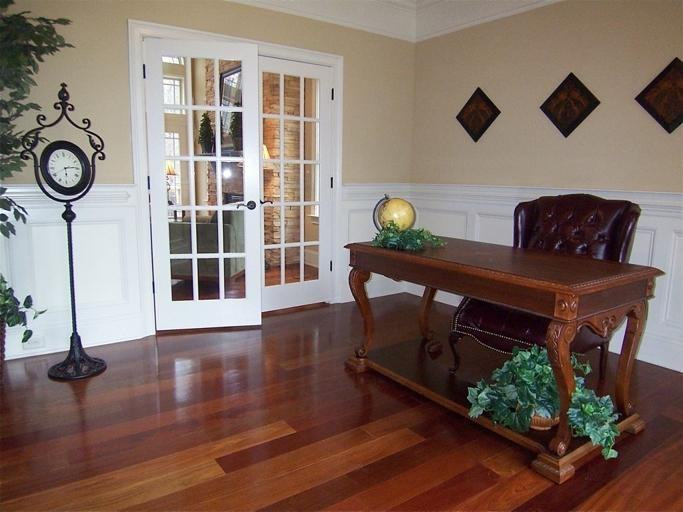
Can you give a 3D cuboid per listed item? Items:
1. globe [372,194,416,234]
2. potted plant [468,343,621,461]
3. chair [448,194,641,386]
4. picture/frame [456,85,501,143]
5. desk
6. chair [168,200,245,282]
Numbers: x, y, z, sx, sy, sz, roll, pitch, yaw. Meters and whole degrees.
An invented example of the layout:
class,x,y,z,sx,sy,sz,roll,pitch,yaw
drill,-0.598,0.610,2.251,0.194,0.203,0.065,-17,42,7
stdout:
class,x,y,z,sx,sy,sz,roll,pitch,yaw
globe,0.405,-0.310,3.621,0.280,0.248,0.233,0,11,11
potted plant,1.209,0.970,2.827,0.668,0.397,0.769,3,8,-4
chair,1.404,0.121,3.294,1.019,1.345,1.000,20,-6,-30
picture/frame,1.399,-1.452,4.911,0.107,0.464,0.461,-10,52,-44
desk,0.997,0.521,3.485,1.008,1.149,1.881,-8,14,-37
chair,-1.255,-0.129,4.706,0.790,0.690,0.813,0,-4,-9
